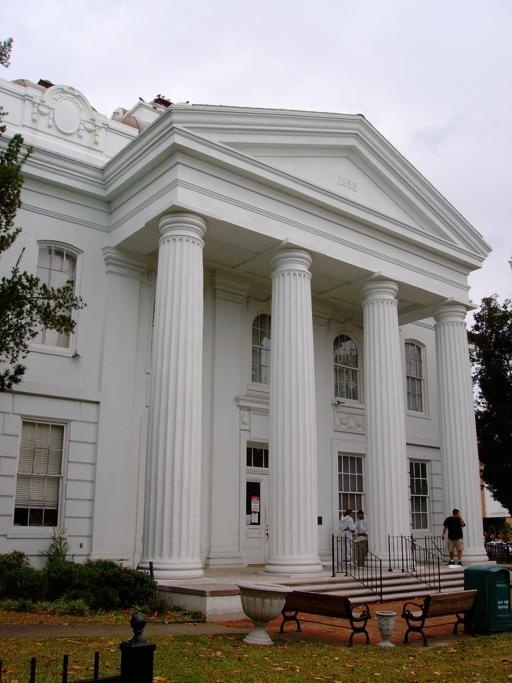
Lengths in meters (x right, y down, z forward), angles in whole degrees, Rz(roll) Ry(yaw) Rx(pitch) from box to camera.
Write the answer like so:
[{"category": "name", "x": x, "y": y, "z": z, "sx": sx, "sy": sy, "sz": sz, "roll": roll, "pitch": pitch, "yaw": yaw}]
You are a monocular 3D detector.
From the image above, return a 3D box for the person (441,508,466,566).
[{"category": "person", "x": 5.649, "y": 5.520, "z": 16.556, "sx": 0.512, "sy": 1.499, "sz": 1.751, "roll": -6, "pitch": -18, "yaw": 18}]

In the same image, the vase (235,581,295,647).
[{"category": "vase", "x": 0.170, "y": 3.613, "z": 7.669, "sx": 0.731, "sy": 0.751, "sz": 0.728, "roll": 10, "pitch": -29, "yaw": 13}]
